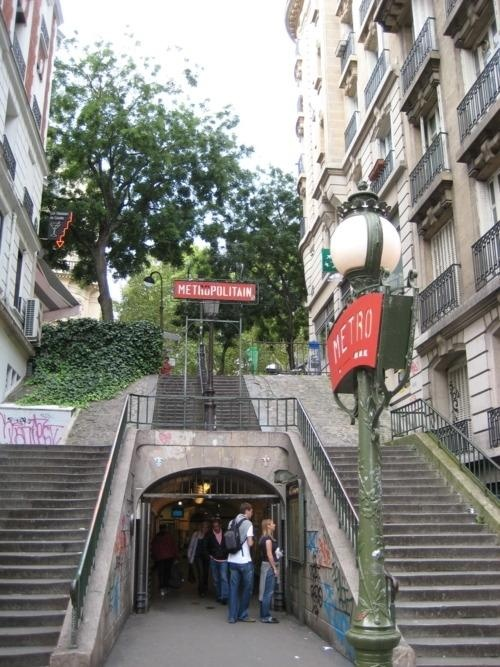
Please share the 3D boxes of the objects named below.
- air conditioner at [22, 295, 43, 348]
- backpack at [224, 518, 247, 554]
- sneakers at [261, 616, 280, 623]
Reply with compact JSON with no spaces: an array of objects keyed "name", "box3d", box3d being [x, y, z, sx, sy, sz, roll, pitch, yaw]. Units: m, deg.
[{"name":"air conditioner","box3d":[-8.229,-0.416,20.608,0.601,2.033,1.400,-1,-18,-8]},{"name":"backpack","box3d":[-0.267,3.222,8.626,0.329,0.544,0.325,-11,-16,44]},{"name":"sneakers","box3d":[0.323,4.497,8.547,0.256,0.123,0.111,2,-7,-4]}]
